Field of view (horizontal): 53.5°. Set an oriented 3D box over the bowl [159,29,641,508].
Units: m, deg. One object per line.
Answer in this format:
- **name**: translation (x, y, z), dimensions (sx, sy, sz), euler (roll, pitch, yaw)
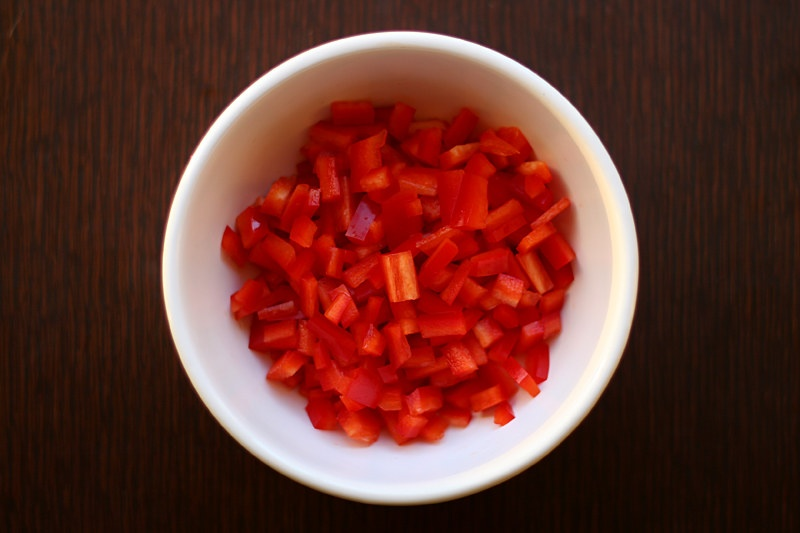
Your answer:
- **bowl**: translation (-0.002, 0.009, 1.511), dimensions (0.881, 0.258, 0.856), euler (1, 78, -5)
